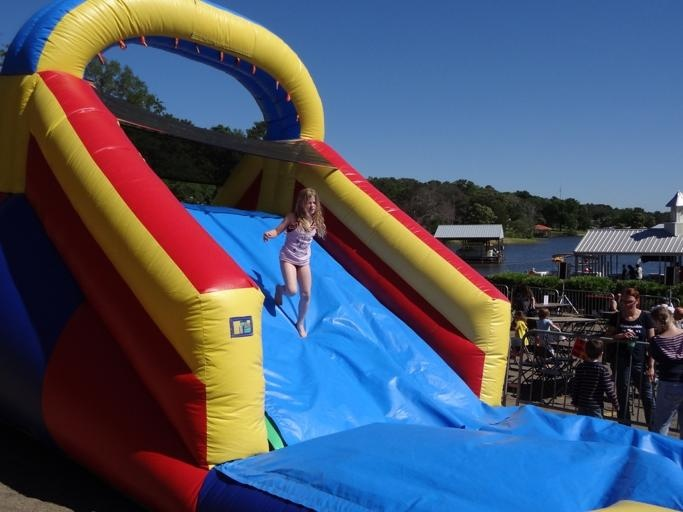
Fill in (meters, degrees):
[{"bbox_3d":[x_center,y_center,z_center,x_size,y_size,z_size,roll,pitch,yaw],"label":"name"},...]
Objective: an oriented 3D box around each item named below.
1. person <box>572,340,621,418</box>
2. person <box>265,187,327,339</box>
[{"bbox_3d":[2.843,1.412,7.249,0.468,0.934,0.439,5,7,22],"label":"person"},{"bbox_3d":[-0.514,0.075,7.175,0.586,1.611,0.560,2,6,-3],"label":"person"}]
